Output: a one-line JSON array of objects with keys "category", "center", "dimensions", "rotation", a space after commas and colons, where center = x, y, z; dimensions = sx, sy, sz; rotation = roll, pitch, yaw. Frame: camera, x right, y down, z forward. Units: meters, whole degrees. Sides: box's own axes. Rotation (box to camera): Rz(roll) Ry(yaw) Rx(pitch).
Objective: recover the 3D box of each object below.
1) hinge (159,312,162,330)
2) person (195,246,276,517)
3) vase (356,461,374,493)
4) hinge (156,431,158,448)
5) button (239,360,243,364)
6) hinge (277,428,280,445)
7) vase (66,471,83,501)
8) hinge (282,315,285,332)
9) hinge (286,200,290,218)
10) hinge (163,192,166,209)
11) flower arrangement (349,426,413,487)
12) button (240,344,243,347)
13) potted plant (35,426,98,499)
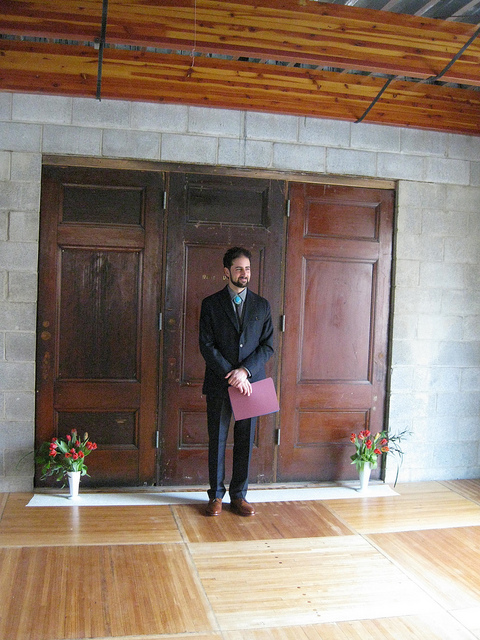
[{"category": "hinge", "center": [-0.536, 0.001, 4.338], "dimensions": [0.020, 0.112, 0.008], "rotation": [3, 3, -5]}, {"category": "person", "center": [0.010, 0.375, 3.932], "dimensions": [0.449, 1.637, 0.404], "rotation": [0, 5, -43]}, {"category": "vase", "center": [0.897, 1.099, 4.493], "dimensions": [0.158, 0.232, 0.102], "rotation": [0, 4, -41]}, {"category": "hinge", "center": [-0.564, 0.819, 4.352], "dimensions": [0.012, 0.105, 0.007], "rotation": [2, 3, -14]}, {"category": "button", "center": [0.008, 0.249, 3.834], "dimensions": [0.023, 0.020, 0.006], "rotation": [6, -6, 11]}, {"category": "hinge", "center": [0.281, 0.839, 4.545], "dimensions": [0.023, 0.107, 0.008], "rotation": [0, 4, -38]}, {"category": "vase", "center": [-1.056, 1.052, 4.087], "dimensions": [0.091, 0.182, 0.163], "rotation": [2, 3, -14]}, {"category": "hinge", "center": [0.314, 0.017, 4.519], "dimensions": [0.013, 0.122, 0.023], "rotation": [5, 4, 30]}, {"category": "hinge", "center": [0.350, -0.809, 4.514], "dimensions": [0.021, 0.121, 0.010], "rotation": [1, 4, -27]}, {"category": "hinge", "center": [-0.507, -0.825, 4.316], "dimensions": [0.016, 0.107, 0.009], "rotation": [4, 3, 13]}, {"category": "flower arrangement", "center": [1.014, 0.999, 4.638], "dimensions": [0.568, 0.436, 0.269], "rotation": [0, 4, -35]}, {"category": "button", "center": [0.011, 0.148, 3.829], "dimensions": [0.020, 0.018, 0.005], "rotation": [2, 2, -17]}, {"category": "potted plant", "center": [-1.143, 0.953, 4.099], "dimensions": [0.401, 0.392, 0.389], "rotation": [-13, -17, 29]}]
